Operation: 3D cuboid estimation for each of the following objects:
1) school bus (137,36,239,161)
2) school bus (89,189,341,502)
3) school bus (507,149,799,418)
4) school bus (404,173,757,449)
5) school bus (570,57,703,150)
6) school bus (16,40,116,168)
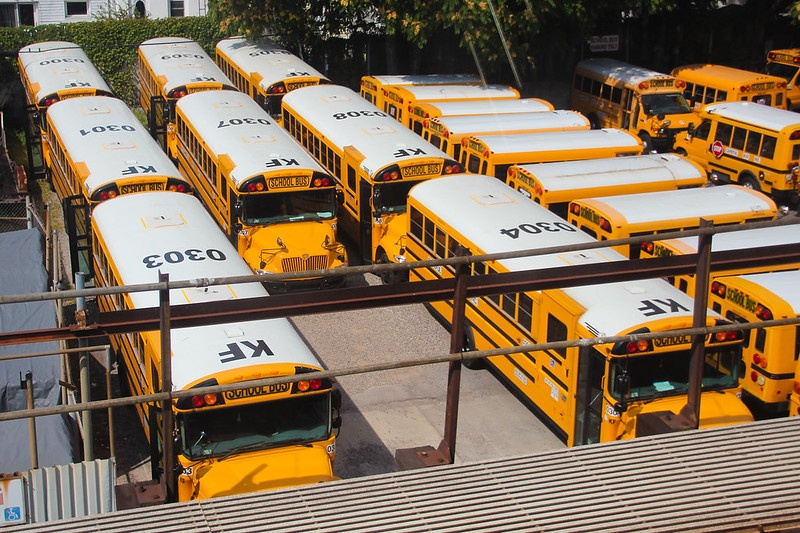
[{"bbox_3d":[-6.796,-5.304,32.279,2.567,2.342,6.606,-2,38,-27],"label":"school bus"},{"bbox_3d":[-3.861,1.133,20.751,2.985,2.694,8.789,-8,30,-26],"label":"school bus"},{"bbox_3d":[5.038,0.495,20.624,6.302,2.055,5.482,-6,27,-13],"label":"school bus"},{"bbox_3d":[3.277,0.469,22.978,3.528,3.018,9.774,-6,26,-14],"label":"school bus"},{"bbox_3d":[8.235,-5.595,35.351,2.115,1.907,5.105,-7,26,-13],"label":"school bus"},{"bbox_3d":[-10.832,-5.963,33.773,2.961,3.007,6.359,-6,40,-29],"label":"school bus"}]
